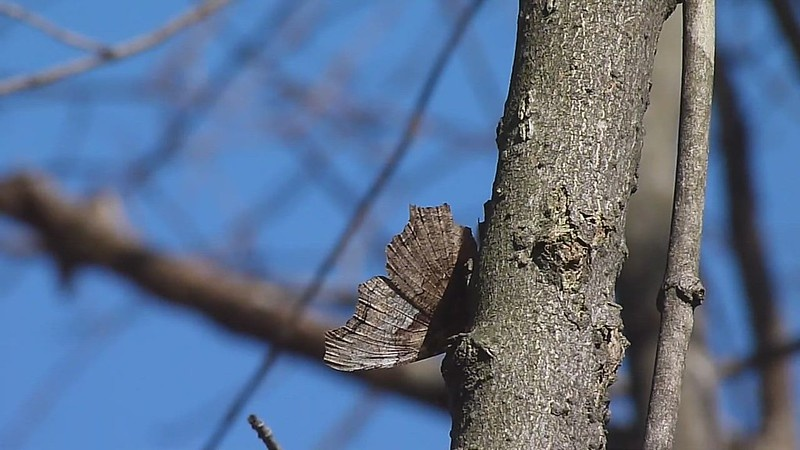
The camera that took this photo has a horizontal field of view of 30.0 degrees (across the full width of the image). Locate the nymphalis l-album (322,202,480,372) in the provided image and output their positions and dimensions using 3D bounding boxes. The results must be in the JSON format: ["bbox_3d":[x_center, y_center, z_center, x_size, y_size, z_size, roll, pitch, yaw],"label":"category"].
[{"bbox_3d":[0.037,0.281,5.581,0.386,0.394,0.647,34,57,22],"label":"nymphalis l-album"}]
